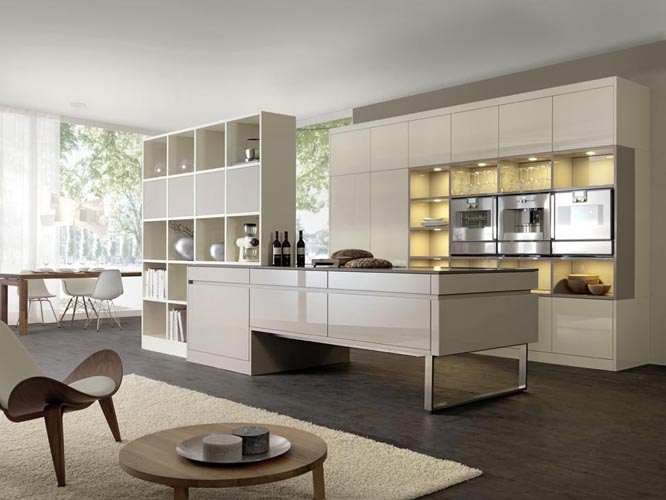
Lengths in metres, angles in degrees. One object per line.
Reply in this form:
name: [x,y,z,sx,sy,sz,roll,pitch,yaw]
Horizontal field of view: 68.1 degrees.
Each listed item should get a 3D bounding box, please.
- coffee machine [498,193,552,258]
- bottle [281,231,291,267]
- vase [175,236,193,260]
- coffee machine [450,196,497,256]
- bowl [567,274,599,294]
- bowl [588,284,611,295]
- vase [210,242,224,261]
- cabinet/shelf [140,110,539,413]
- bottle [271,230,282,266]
coffee machine: [2.414,-0.322,6.163,0.312,0.916,0.808,4,-5,-43]
bottle: [-0.505,-0.025,5.300,0.099,0.368,0.339,-3,2,-5]
vase: [-1.925,-0.031,6.555,0.287,0.269,0.284,0,3,13]
coffee machine: [1.899,-0.334,6.615,0.459,0.877,0.765,5,-7,-44]
bowl: [2.966,0.399,5.882,0.253,0.150,0.252,0,-2,0]
bowl: [3.065,0.475,5.706,0.160,0.079,0.158,0,-8,0]
vase: [-1.368,0.017,6.005,0.208,0.196,0.207,1,1,34]
cabinet/shelf: [-0.586,-0.126,5.502,4.802,3.002,0.991,-1,3,40]
bottle: [-0.609,-0.029,5.315,0.111,0.371,0.235,-3,2,-7]
